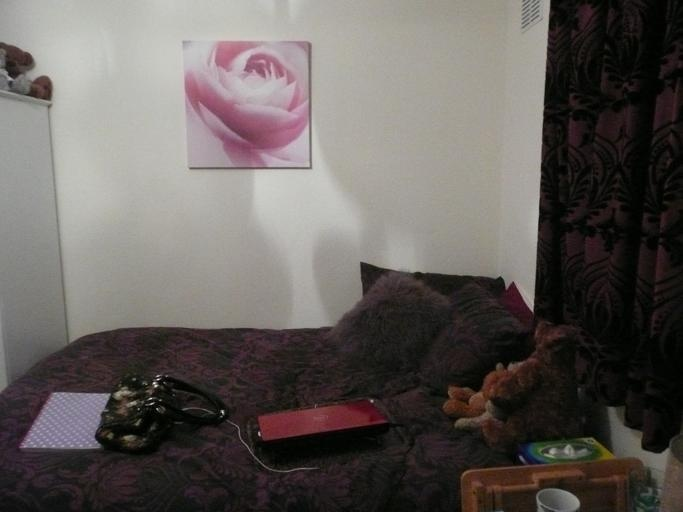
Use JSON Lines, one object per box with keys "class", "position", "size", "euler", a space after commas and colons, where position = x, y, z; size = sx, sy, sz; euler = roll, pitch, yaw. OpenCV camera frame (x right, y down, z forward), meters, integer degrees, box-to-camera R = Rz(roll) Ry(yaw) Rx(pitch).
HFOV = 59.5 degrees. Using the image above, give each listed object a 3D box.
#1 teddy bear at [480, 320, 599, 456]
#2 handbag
{"class": "teddy bear", "position": [0.743, 0.463, 2.197], "size": [0.415, 0.489, 0.298], "euler": [-5, 9, -37]}
{"class": "handbag", "position": [-0.776, 0.575, 2.301], "size": [0.288, 0.122, 0.546], "euler": [-2, 17, -10]}
